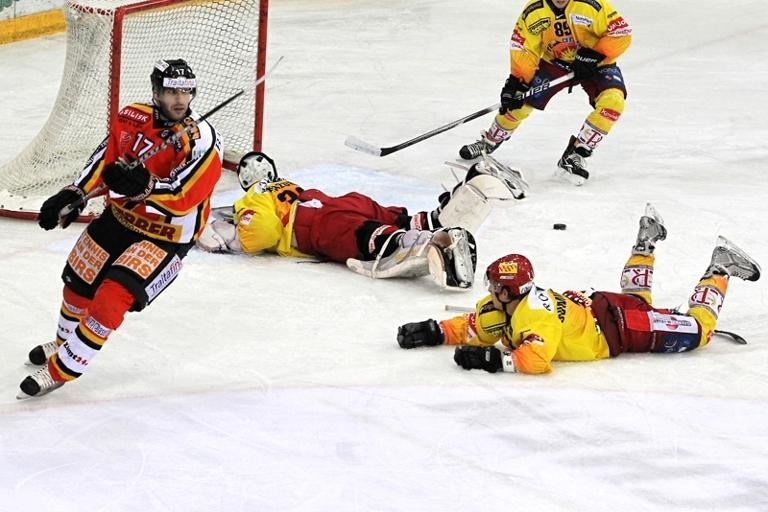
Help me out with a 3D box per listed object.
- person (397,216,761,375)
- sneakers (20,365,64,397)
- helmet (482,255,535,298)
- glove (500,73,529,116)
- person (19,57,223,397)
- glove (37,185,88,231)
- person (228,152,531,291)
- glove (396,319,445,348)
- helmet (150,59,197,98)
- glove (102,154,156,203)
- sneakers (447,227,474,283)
[{"bbox_3d":[1.190,0.182,4.570,1.908,0.538,0.777,-7,8,-14],"label":"person"},{"bbox_3d":[-1.617,0.600,3.953,0.110,0.083,0.263,-33,-1,4],"label":"sneakers"},{"bbox_3d":[0.664,0.095,4.384,0.282,0.218,0.204,15,33,11],"label":"helmet"},{"bbox_3d":[1.102,-1.390,7.066,0.274,0.288,0.116,18,-7,-8],"label":"glove"},{"bbox_3d":[-1.218,-0.118,3.880,0.801,1.636,0.481,7,6,-6],"label":"person"},{"bbox_3d":[-1.495,-0.219,3.896,0.254,0.098,0.157,-31,64,-13],"label":"glove"},{"bbox_3d":[-0.136,-0.248,5.656,1.818,0.533,0.967,6,9,16],"label":"person"},{"bbox_3d":[0.195,0.430,4.528,0.253,0.086,0.132,-8,28,-8],"label":"glove"},{"bbox_3d":[-0.933,-0.812,3.734,0.207,0.156,0.157,-4,23,-5],"label":"helmet"},{"bbox_3d":[-1.136,-0.336,3.642,0.219,0.153,0.090,16,33,-5],"label":"glove"},{"bbox_3d":[0.547,-0.003,5.258,0.112,0.307,0.248,-16,-28,23],"label":"sneakers"}]
